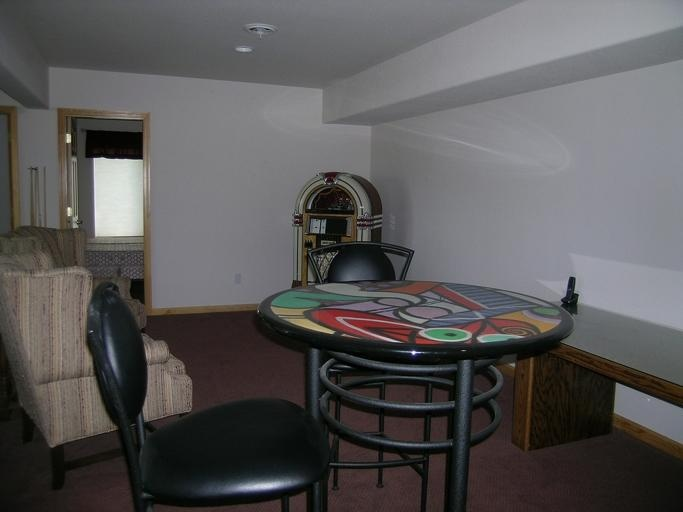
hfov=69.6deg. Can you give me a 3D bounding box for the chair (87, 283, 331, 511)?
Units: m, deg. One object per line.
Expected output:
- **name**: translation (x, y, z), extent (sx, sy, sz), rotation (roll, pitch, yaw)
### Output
- **chair**: translation (-0.420, 0.425, 2.111), extent (0.920, 1.192, 0.742), rotation (-2, 16, -14)

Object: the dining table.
- **dining table**: translation (0.339, 0.289, 2.122), extent (1.049, 0.732, 1.106), rotation (-3, 16, -10)
